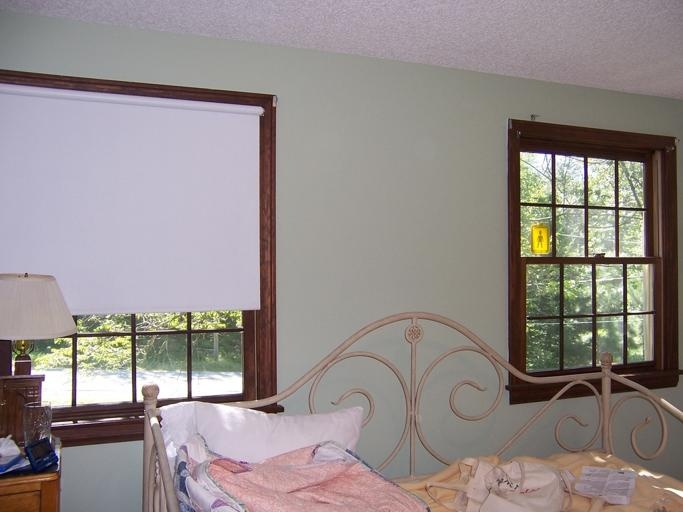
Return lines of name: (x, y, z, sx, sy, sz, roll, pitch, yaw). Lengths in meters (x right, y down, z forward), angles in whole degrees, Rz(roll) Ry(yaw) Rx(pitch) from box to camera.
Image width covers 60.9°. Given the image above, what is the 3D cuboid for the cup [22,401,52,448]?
cup: (-1.379, 0.760, 2.624, 0.112, 0.183, 0.193, 0, -3, -27)
